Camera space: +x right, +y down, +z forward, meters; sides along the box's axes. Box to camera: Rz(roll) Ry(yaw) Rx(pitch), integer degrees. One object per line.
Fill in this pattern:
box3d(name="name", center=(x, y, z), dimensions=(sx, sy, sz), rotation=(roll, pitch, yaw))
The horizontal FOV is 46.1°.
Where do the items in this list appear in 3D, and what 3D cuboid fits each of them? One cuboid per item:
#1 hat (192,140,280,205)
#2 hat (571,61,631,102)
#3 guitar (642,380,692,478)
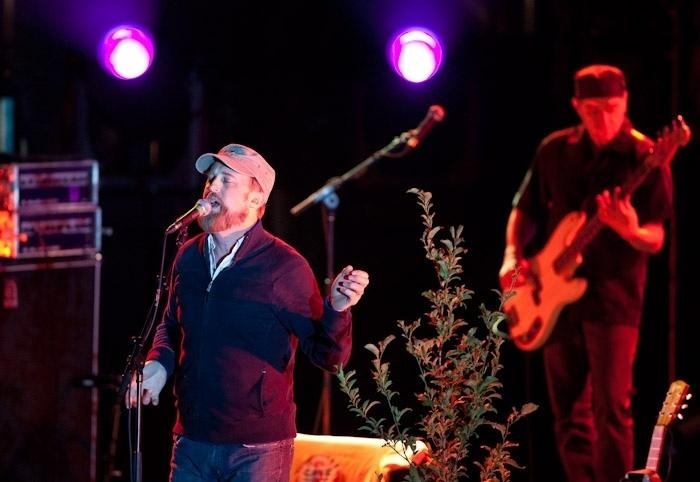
box3d(name="hat", center=(-0.617, -0.438, 4.860), dimensions=(0.343, 0.265, 0.469), rotation=(8, -24, 40))
box3d(name="hat", center=(1.732, -1.080, 5.721), dimensions=(0.340, 0.258, 0.358), rotation=(-6, -5, 44))
box3d(name="guitar", center=(1.881, 1.092, 4.844), dimensions=(0.233, 0.667, 0.902), rotation=(-2, -18, 22))
